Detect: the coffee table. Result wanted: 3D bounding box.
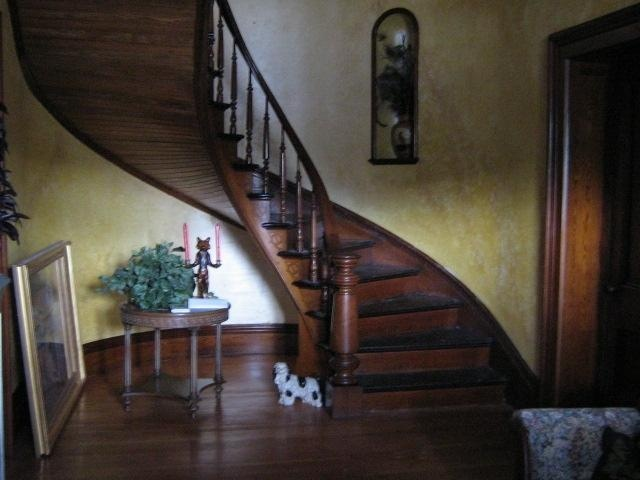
[{"bbox_3d":[-1.117,0.769,4.578,0.778,0.818,1.087,-3,12,-19],"label":"coffee table"}]

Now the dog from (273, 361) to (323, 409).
[{"bbox_3d":[-0.203,1.061,4.543,0.428,0.300,0.319,11,13,-21],"label":"dog"}]
